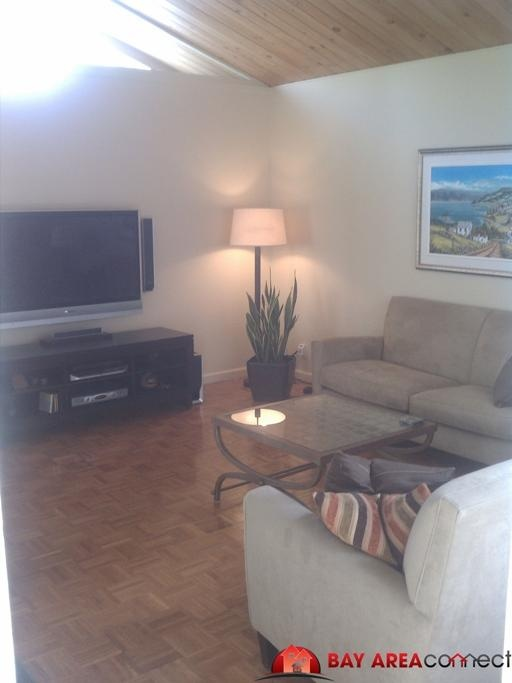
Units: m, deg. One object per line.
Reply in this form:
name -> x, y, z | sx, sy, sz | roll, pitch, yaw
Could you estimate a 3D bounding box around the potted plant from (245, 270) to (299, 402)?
potted plant -> 0.137, -0.042, 4.898 | 0.471, 1.072, 0.838 | 0, 10, 2
